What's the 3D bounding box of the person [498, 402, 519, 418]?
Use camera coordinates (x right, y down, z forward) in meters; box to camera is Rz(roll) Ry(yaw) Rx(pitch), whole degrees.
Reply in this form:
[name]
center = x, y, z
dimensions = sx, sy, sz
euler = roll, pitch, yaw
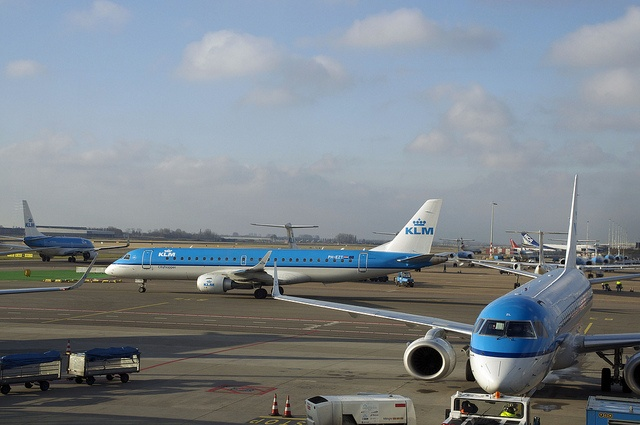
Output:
[person]
center = 7.297, 7.595, 25.997
dimensions = 0.636, 0.545, 0.821
euler = 6, 13, 16
